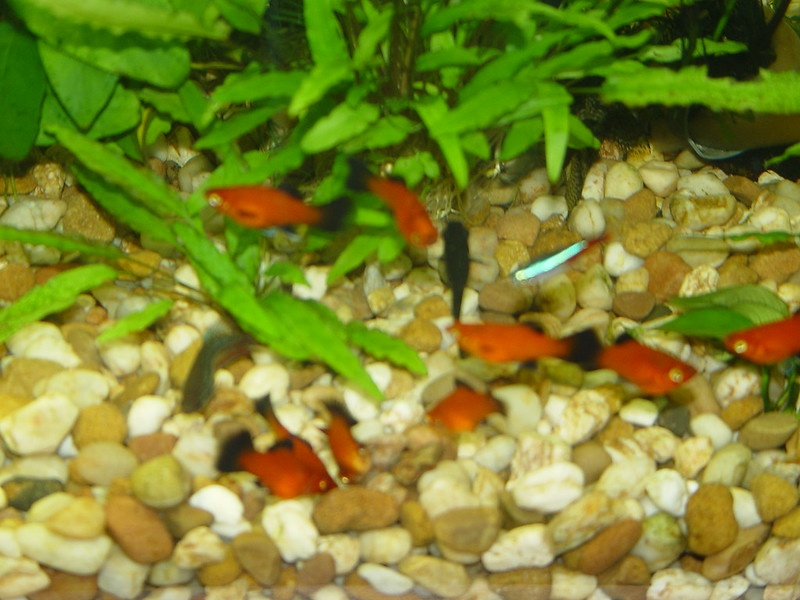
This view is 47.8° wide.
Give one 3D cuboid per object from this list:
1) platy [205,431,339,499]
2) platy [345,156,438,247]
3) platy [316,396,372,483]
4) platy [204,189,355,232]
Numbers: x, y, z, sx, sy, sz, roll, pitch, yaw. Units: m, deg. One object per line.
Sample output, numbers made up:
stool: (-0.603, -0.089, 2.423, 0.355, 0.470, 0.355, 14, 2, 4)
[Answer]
platy: (-0.290, 0.388, 2.119, 0.286, 0.046, 0.128, 14, 64, 17)
platy: (-0.027, -0.247, 2.257, 0.066, 0.126, 0.292, 19, 23, -41)
platy: (-0.146, 0.334, 2.171, 0.098, 0.037, 0.172, 8, 57, -41)
platy: (-0.284, -0.220, 2.214, 0.209, 0.091, 0.059, 5, 68, -28)
